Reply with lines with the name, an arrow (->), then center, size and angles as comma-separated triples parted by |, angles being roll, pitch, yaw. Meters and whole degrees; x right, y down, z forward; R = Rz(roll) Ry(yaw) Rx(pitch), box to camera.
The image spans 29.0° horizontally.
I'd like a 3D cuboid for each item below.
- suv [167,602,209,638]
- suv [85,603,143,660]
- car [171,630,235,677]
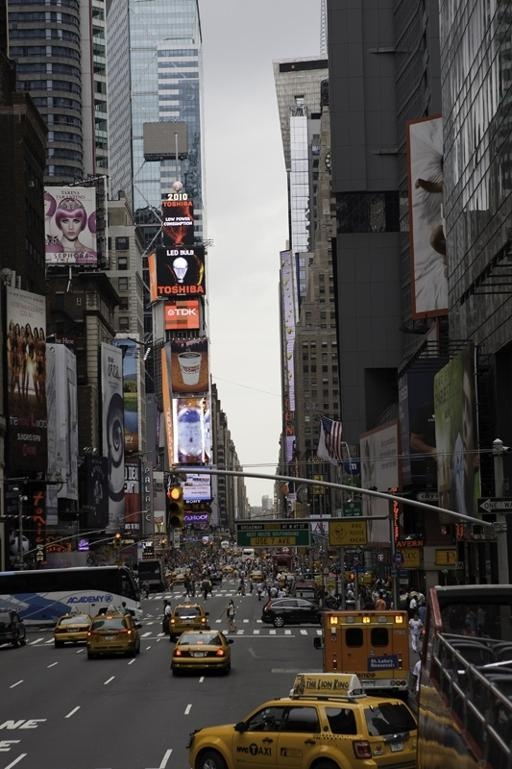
suv -> -2.868, 10.118, 41.446 | 1.220, 1.531, 2.560 | 0, 4, 2
suv -> -5.212, 9.099, 36.016 | 1.596, 1.995, 1.780 | -1, -5, -4
car -> -1.655, 8.101, 29.779 | 1.400, 1.232, 2.858 | -1, -6, 0
